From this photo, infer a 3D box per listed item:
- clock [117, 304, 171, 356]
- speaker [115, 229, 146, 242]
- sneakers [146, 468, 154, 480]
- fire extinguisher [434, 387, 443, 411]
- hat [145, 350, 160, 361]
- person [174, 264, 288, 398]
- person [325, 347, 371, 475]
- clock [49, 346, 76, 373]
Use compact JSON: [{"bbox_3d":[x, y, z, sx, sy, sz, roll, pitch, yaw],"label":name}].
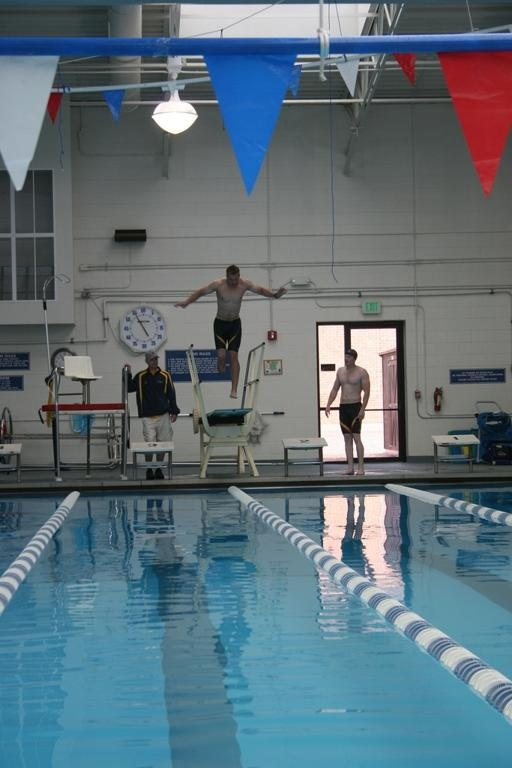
[{"bbox_3d":[-1.644,-0.767,12.676,0.713,0.763,0.088,-4,-2,-3],"label":"clock"},{"bbox_3d":[-1.804,-2.132,12.672,0.463,0.183,0.248,-1,4,-9],"label":"speaker"},{"bbox_3d":[-1.244,1.040,10.393,0.090,0.135,0.417,0,4,-8],"label":"sneakers"},{"bbox_3d":[2.659,0.233,12.897,0.126,0.379,0.179,2,4,25],"label":"fire extinguisher"},{"bbox_3d":[-1.329,-0.368,11.284,0.181,0.103,0.288,-2,1,-11],"label":"hat"},{"bbox_3d":[-0.300,-0.543,9.529,0.703,1.463,1.009,-1,4,-10],"label":"person"},{"bbox_3d":[1.113,0.374,10.686,0.515,1.591,1.422,0,4,6],"label":"person"},{"bbox_3d":[-2.764,-0.350,12.439,0.337,0.329,0.479,0,4,2],"label":"clock"}]
